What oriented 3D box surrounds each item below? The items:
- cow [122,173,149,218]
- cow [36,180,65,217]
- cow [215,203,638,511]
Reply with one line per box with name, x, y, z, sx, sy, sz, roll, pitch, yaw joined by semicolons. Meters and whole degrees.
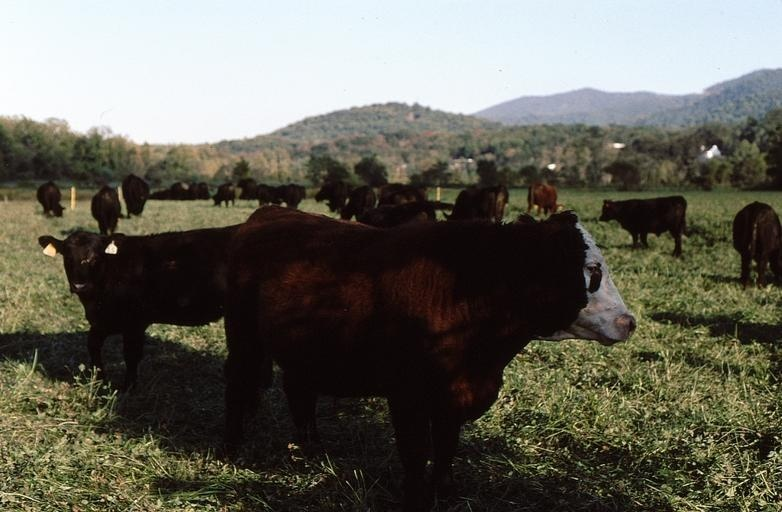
cow;-10.726;-2.538;31.309;0.969;1.809;2.712;-3;4;-18
cow;-13.618;-2.299;29.762;0.828;1.411;1.789;-3;4;-23
cow;0.381;1.630;10.668;4.395;2.888;1.450;2;-7;19
